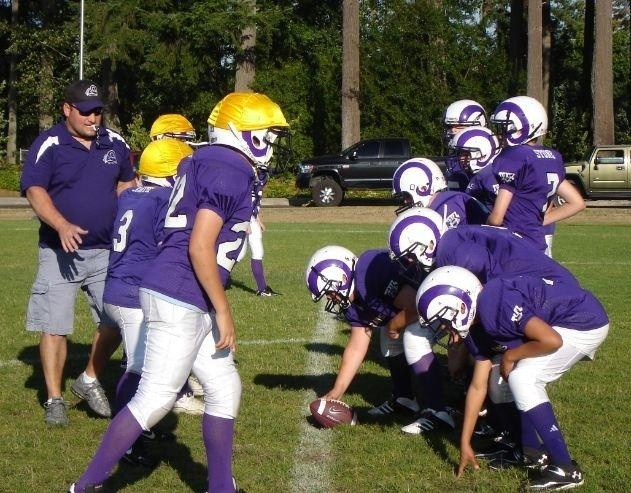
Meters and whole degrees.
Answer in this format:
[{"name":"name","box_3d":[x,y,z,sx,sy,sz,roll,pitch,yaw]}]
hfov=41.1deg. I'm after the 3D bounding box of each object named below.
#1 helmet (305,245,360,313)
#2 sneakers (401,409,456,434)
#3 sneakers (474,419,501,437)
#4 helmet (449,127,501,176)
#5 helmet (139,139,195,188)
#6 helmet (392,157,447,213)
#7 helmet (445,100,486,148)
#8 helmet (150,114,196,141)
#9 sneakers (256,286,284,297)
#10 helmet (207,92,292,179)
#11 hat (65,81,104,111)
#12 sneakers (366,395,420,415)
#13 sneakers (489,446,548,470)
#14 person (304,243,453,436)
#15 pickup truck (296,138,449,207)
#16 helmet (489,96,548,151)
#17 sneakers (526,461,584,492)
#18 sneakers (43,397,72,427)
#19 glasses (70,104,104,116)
[{"name":"helmet","box_3d":[0.119,0.247,6.954,0.445,0.538,0.395,23,2,-12]},{"name":"sneakers","box_3d":[0.917,1.396,6.835,0.488,0.233,0.177,-2,-2,-9]},{"name":"sneakers","box_3d":[1.437,1.508,6.941,0.249,0.198,0.090,-2,-4,15]},{"name":"helmet","box_3d":[1.618,-1.002,8.385,0.482,0.438,0.434,-7,17,6]},{"name":"helmet","box_3d":[-1.295,-0.713,6.994,0.444,0.349,0.319,-18,22,-32]},{"name":"helmet","box_3d":[0.914,-0.569,7.432,0.479,0.478,0.388,-9,11,0]},{"name":"helmet","box_3d":[1.595,-1.326,8.866,0.478,0.514,0.399,-9,19,-8]},{"name":"helmet","box_3d":[-1.473,-1.243,8.700,0.359,0.325,0.300,-6,22,-5]},{"name":"sneakers","box_3d":[-0.602,0.595,11.083,0.348,0.168,0.123,-1,0,1]},{"name":"helmet","box_3d":[-0.476,-0.828,5.971,0.589,0.594,0.474,3,9,-1]},{"name":"hat","box_3d":[-1.902,-1.291,7.078,0.284,0.215,0.383,-8,26,-44]},{"name":"sneakers","box_3d":[0.667,1.345,7.177,0.469,0.195,0.167,2,-8,-3]},{"name":"sneakers","box_3d":[1.485,1.592,6.248,0.445,0.203,0.167,1,-9,8]},{"name":"person","box_3d":[0.539,0.732,7.104,1.190,1.586,0.929,-3,5,11]},{"name":"pickup truck","box_3d":[1.302,-2.143,24.634,3.657,1.734,1.859,1,4,0]},{"name":"helmet","box_3d":[1.938,-1.211,7.971,0.545,0.517,0.464,2,26,19]},{"name":"sneakers","box_3d":[1.691,1.631,5.976,0.398,0.191,0.178,-1,-4,-1]},{"name":"sneakers","box_3d":[-2.113,1.353,6.852,0.170,0.198,0.192,-5,13,-20]},{"name":"glasses","box_3d":[-1.913,-1.142,7.051,0.238,0.121,0.154,12,7,25]}]
